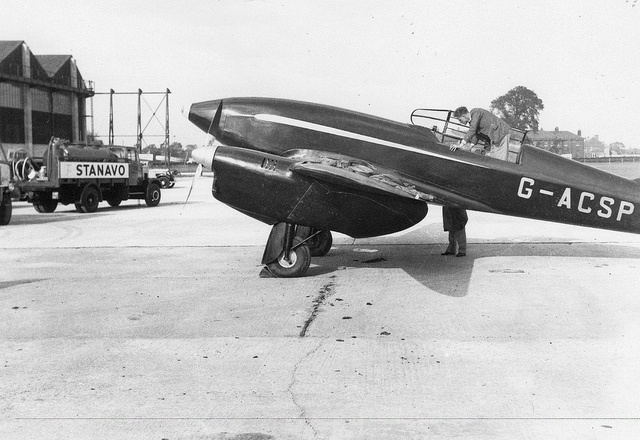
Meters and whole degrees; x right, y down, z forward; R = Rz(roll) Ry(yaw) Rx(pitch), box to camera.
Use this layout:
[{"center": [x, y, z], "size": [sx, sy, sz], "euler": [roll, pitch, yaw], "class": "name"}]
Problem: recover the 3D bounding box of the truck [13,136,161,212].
[{"center": [-8.946, -1.673, 23.716], "size": [2.200, 2.313, 5.285], "euler": [3, 4, 30], "class": "truck"}]
